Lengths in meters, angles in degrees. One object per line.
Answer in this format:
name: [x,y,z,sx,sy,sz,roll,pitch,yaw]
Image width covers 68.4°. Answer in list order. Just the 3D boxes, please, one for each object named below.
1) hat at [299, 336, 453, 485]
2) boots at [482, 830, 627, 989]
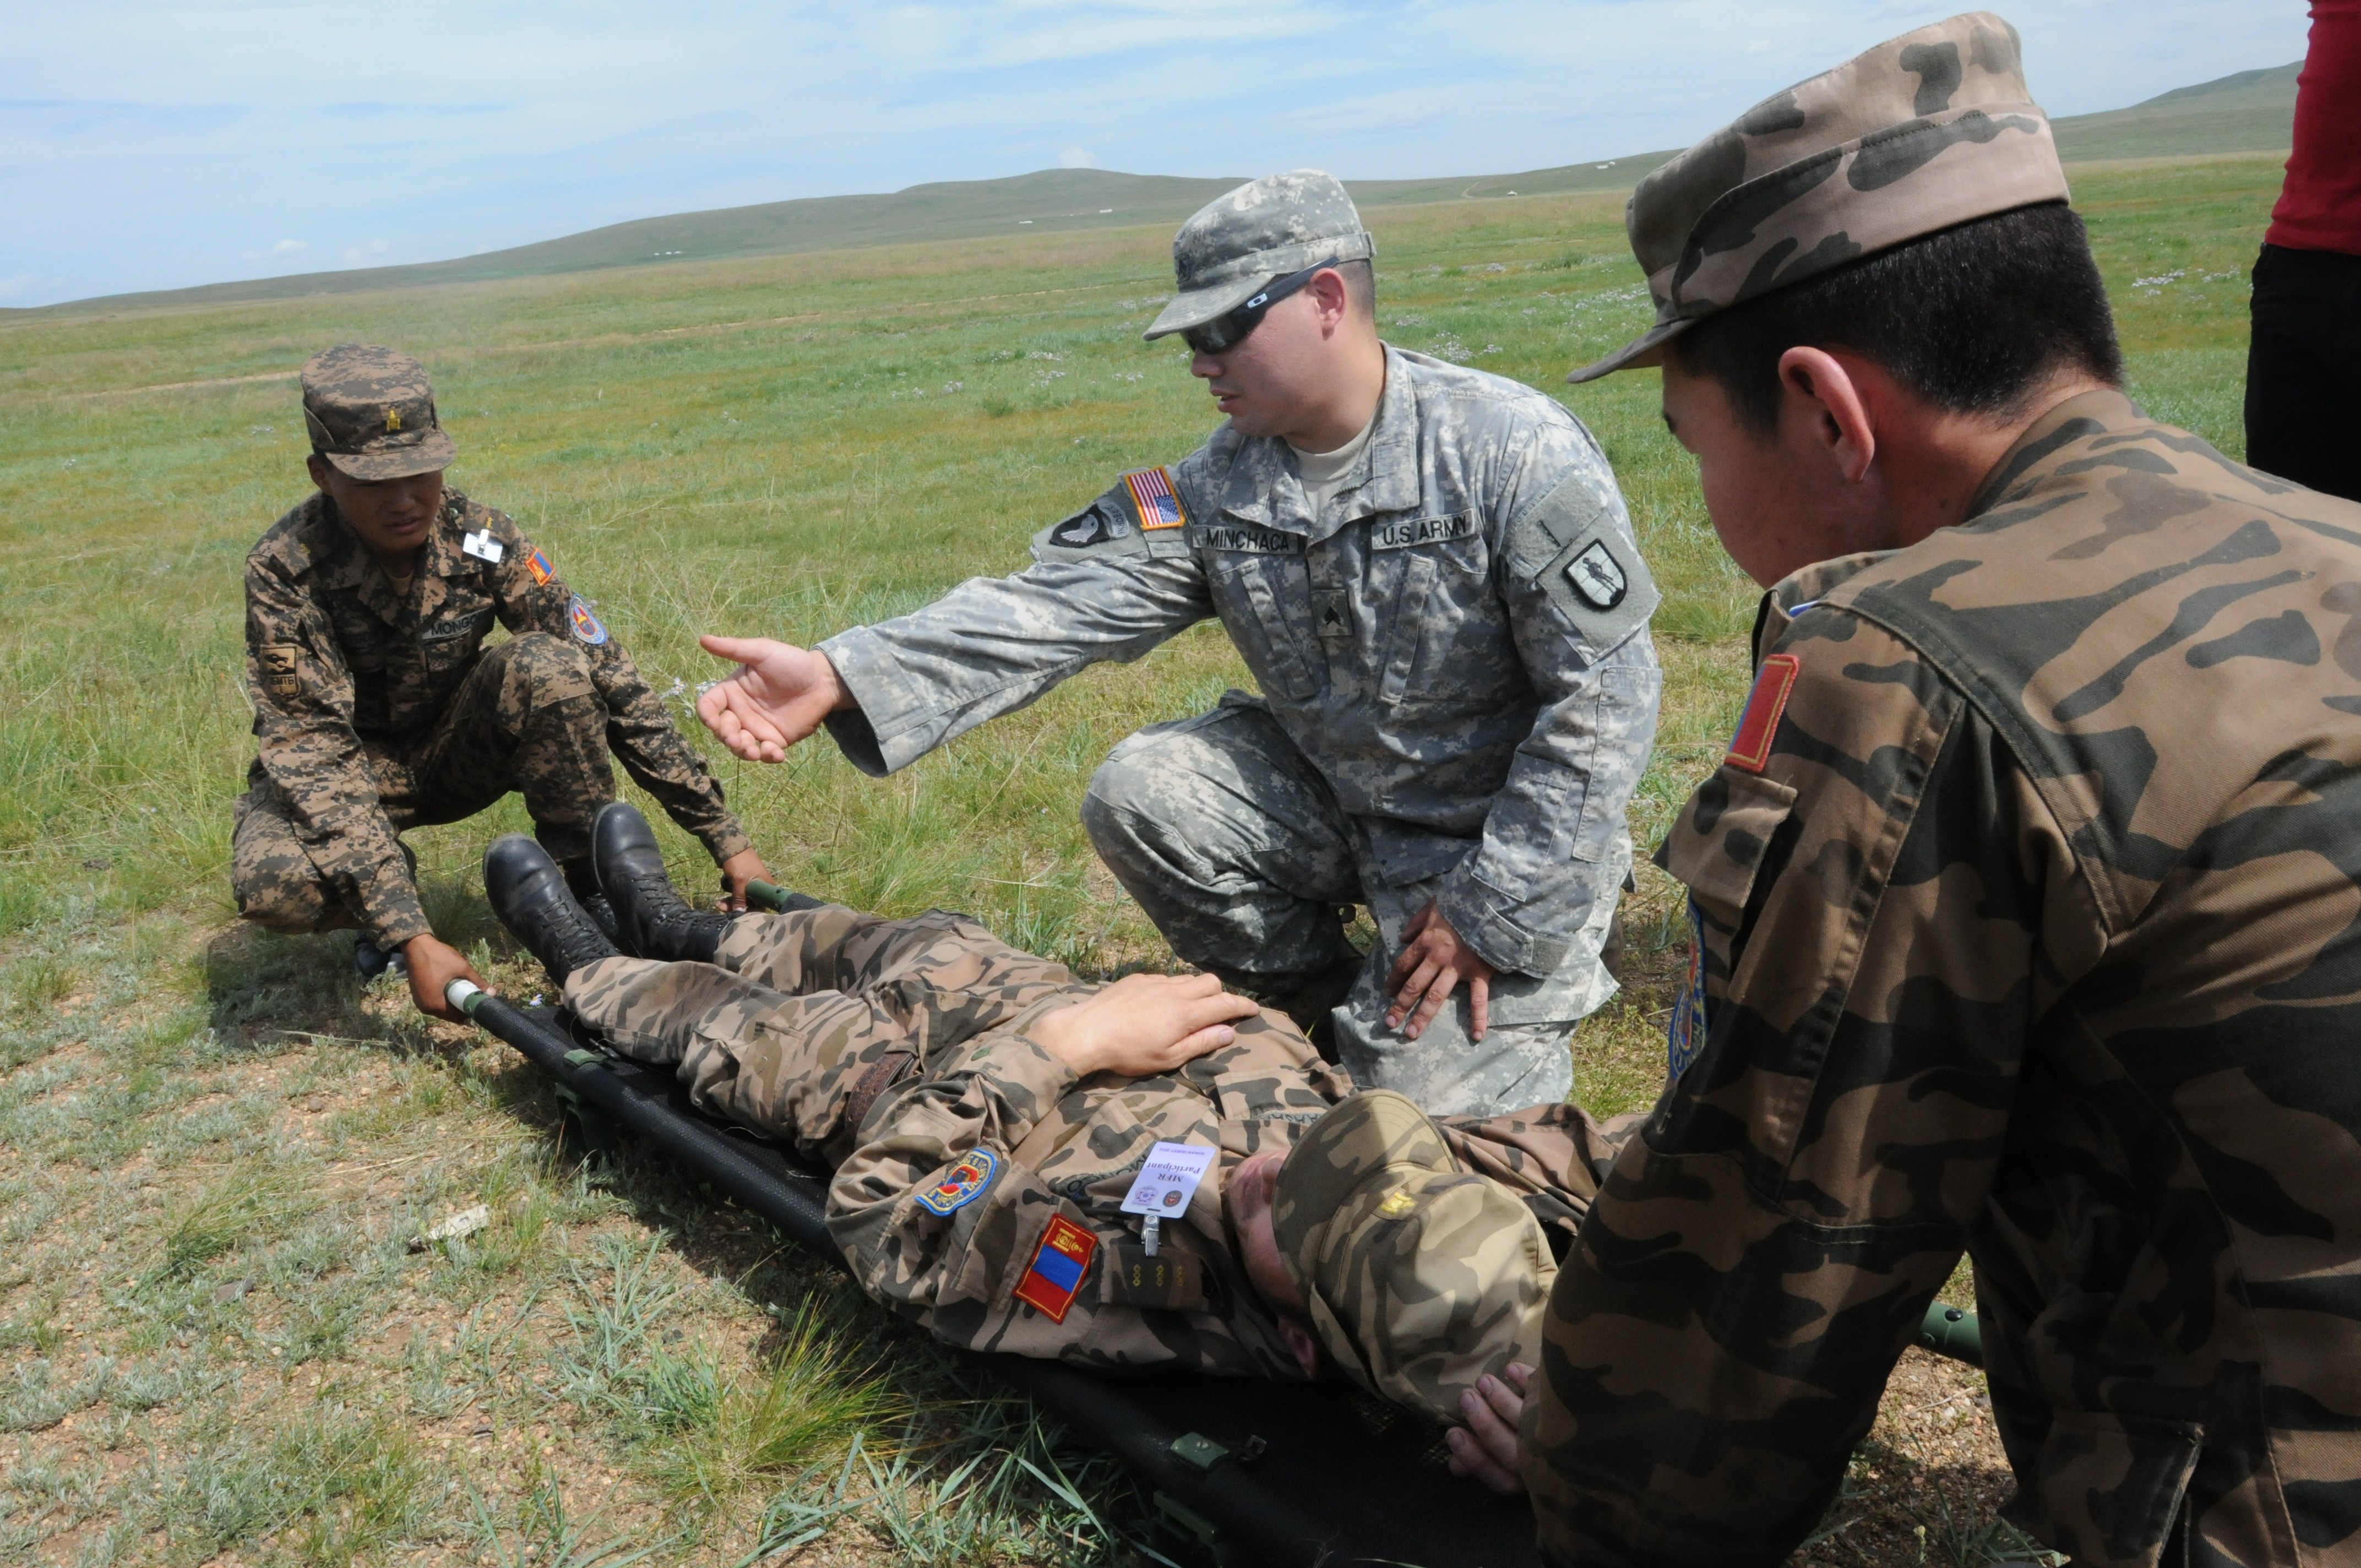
hat: [-2.569,-1.124,5.524,0.380,0.265,0.506,-20,48,-30]
boots: [-1.959,0.393,5.444,0.165,0.492,0.210,-43,9,-13]
